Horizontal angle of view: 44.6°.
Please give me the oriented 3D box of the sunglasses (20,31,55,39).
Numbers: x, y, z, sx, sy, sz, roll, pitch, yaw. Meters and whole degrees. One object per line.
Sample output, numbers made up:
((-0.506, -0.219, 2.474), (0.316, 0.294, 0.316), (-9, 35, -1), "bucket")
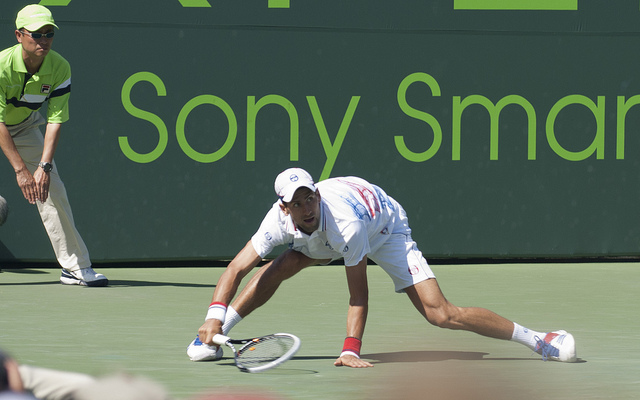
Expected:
((-2.982, -1.736, 8.219), (0.334, 0.082, 0.126), (-1, 7, -16), "sunglasses")

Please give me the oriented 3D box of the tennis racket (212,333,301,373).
((-0.391, 1.083, 5.805), (0.565, 0.051, 0.333), (2, 10, 36), "tennis racket")

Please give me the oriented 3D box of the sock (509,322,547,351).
((1.671, 1.114, 6.322), (0.283, 0.177, 0.138), (22, 10, 11), "sock")

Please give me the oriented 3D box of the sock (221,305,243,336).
((-0.714, 1.004, 6.364), (0.142, 0.292, 0.368), (0, 7, -4), "sock")

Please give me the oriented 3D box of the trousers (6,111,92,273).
((-3.005, 0.084, 8.985), (0.578, 2.108, 0.503), (-18, 21, 9), "trousers")
